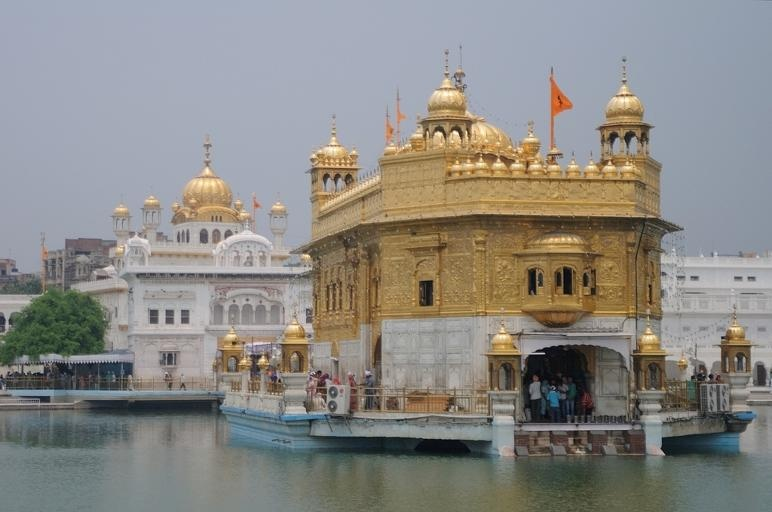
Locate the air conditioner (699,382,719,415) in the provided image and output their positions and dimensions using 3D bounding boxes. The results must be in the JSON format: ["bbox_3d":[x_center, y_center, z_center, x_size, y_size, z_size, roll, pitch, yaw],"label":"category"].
[{"bbox_3d":[12.326,5.390,69.264,0.696,1.175,0.574,-3,-12,14],"label":"air conditioner"}]

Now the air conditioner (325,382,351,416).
[{"bbox_3d":[-1.778,5.286,66.860,1.154,1.113,0.635,-3,-6,38],"label":"air conditioner"}]
